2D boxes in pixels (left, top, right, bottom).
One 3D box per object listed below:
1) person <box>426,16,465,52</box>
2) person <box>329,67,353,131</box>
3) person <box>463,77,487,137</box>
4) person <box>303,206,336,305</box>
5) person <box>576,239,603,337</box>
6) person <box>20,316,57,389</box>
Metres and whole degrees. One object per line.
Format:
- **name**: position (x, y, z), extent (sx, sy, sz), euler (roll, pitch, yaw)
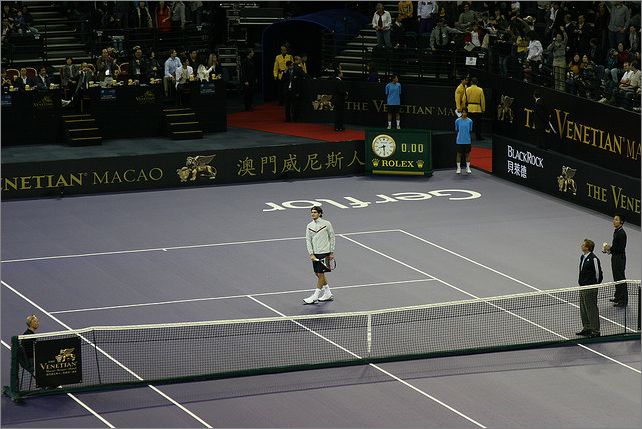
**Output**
- **person**: position (5.253, -7.384, 41.428), extent (1.008, 1.643, 1.478), euler (4, 47, -3)
- **person**: position (0.754, -4.721, 40.521), extent (0.684, 2.458, 0.868), euler (-8, 18, -19)
- **person**: position (6.094, -4.099, 39.015), extent (0.757, 2.473, 0.867), euler (7, 40, 9)
- **person**: position (-0.107, 1.085, 26.517), extent (0.978, 2.602, 0.791), euler (-4, 3, -17)
- **person**: position (6.943, 1.877, 25.235), extent (0.590, 2.488, 0.806), euler (0, 2, -21)
- **person**: position (-6.769, 3.239, 23.061), extent (0.591, 1.734, 0.529), euler (-2, 5, -10)
